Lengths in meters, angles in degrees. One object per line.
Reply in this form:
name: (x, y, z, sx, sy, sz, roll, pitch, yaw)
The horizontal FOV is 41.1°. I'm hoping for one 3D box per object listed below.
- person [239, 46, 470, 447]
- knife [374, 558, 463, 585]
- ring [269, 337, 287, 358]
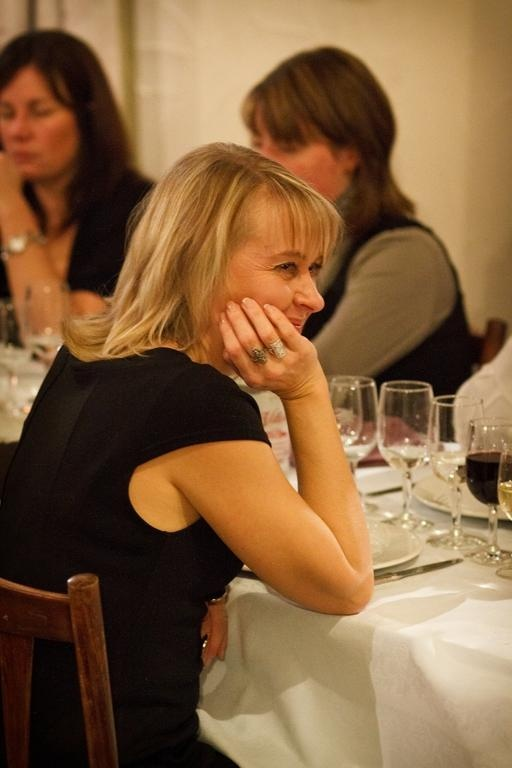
person: (0.216, -0.321, 2.115, 0.826, 1.223, 0.641, -5, 12, -14)
knife: (0.193, 0.226, 0.826, 0.142, 0.014, 0.014, -2, -11, -24)
ring: (0.025, -0.044, 0.821, 0.018, 0.023, 0.010, -34, 20, -20)
